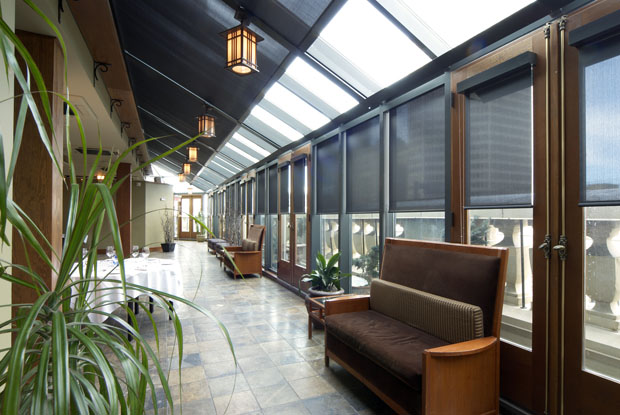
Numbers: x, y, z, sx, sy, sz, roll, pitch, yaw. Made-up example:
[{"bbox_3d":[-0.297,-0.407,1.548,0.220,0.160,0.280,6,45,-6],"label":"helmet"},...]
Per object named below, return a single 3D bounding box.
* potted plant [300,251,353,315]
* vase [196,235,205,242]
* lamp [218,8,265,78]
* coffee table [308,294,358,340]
[{"bbox_3d":[0.182,0.930,5.382,0.532,0.769,0.734,1,-9,0],"label":"potted plant"},{"bbox_3d":[-4.908,1.357,18.471,0.328,0.265,0.343,2,-4,-3],"label":"vase"},{"bbox_3d":[-0.654,-1.699,4.130,0.362,0.751,0.501,2,-3,0],"label":"lamp"},{"bbox_3d":[0.214,1.211,4.938,0.556,0.470,0.595,0,0,-11],"label":"coffee table"}]
